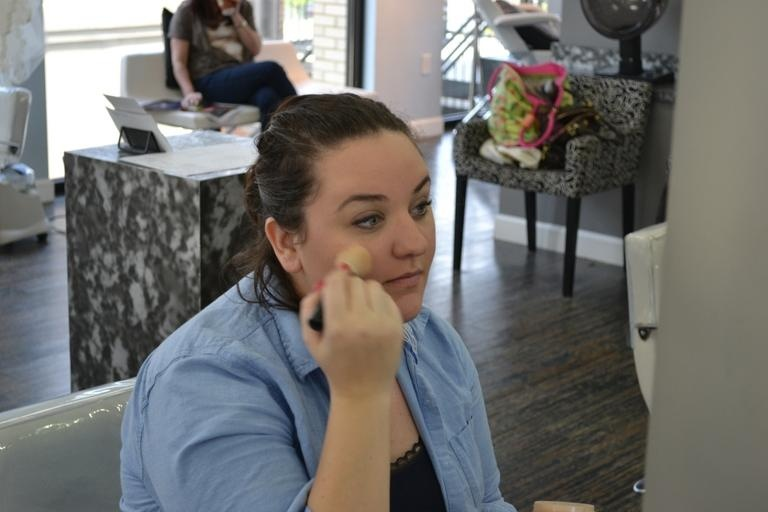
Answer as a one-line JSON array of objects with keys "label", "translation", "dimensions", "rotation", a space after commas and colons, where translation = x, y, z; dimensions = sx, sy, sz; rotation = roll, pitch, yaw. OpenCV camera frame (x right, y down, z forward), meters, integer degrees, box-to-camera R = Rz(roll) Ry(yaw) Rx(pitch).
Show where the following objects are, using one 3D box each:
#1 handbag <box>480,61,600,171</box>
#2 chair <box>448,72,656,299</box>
[{"label": "handbag", "translation": [0.813, -0.768, 3.436], "dimensions": [0.606, 0.522, 0.313], "rotation": [11, 8, 11]}, {"label": "chair", "translation": [0.946, -0.465, 3.761], "dimensions": [0.959, 1.259, 0.992], "rotation": [12, 16, 33]}]
